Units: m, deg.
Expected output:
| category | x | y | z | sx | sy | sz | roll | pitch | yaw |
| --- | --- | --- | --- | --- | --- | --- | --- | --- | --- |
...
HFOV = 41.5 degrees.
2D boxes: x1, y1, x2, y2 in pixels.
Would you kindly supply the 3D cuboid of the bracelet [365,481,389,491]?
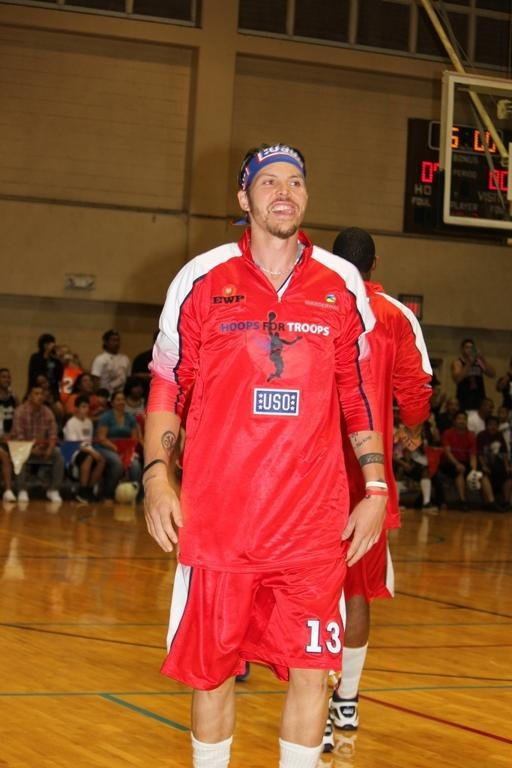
| category | x | y | z | sx | sy | sz | roll | pitch | yaw |
| --- | --- | --- | --- | --- | --- | --- | --- | --- | --- |
| bracelet | 0.231 | 0.199 | 1.321 | 0.024 | 0.020 | 0.029 | 2 | -11 | -18 |
